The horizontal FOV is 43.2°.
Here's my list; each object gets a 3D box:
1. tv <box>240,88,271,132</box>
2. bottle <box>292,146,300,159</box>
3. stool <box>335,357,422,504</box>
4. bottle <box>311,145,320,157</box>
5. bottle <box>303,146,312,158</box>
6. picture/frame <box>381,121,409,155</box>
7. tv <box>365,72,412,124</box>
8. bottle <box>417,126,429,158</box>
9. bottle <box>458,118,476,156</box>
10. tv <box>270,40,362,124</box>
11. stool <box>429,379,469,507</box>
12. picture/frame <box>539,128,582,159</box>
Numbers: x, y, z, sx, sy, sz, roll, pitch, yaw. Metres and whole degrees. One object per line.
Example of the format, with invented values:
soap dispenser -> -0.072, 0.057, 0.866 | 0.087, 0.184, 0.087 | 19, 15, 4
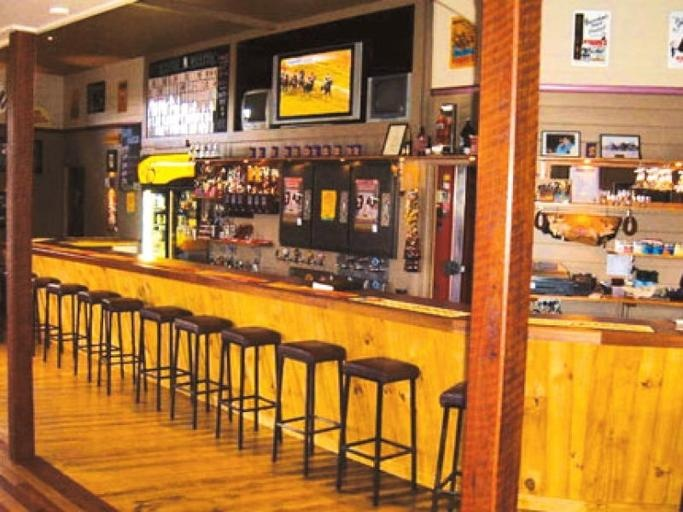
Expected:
tv -> -1.041, -1.806, 10.744 | 0.173, 0.539, 0.593 | -8, 18, -31
bottle -> -0.548, -1.216, 10.044 | 0.131, 0.171, 0.123 | 0, 7, 0
stool -> 0.295, 1.267, 6.683 | 0.623, 1.023, 0.769 | 2, 15, 4
bottle -> -0.274, -1.188, 9.799 | 0.113, 0.126, 0.114 | 6, 9, 27
bottle -> -0.379, -1.197, 9.878 | 0.087, 0.107, 0.320 | 0, 15, -5
picture/frame -> 0.564, -1.222, 9.026 | 0.252, 0.312, 0.271 | 9, 17, 28
tv -> 0.513, -1.692, 9.240 | 0.600, 0.525, 0.103 | 15, 20, 42
bottle -> 0.832, -1.174, 8.810 | 0.130, 0.258, 0.389 | 3, 15, 5
bottle -> 1.257, -1.183, 8.590 | 0.150, 0.315, 0.369 | 3, 15, 7
tv -> -0.260, -1.967, 9.866 | 0.166, 0.949, 1.351 | -13, 21, -43
stool -> 0.794, 1.392, 6.362 | 0.204, 1.025, 0.631 | 3, 15, 7
picture/frame -> 2.280, -1.159, 8.916 | 0.345, 0.246, 0.035 | 1, 2, 10
